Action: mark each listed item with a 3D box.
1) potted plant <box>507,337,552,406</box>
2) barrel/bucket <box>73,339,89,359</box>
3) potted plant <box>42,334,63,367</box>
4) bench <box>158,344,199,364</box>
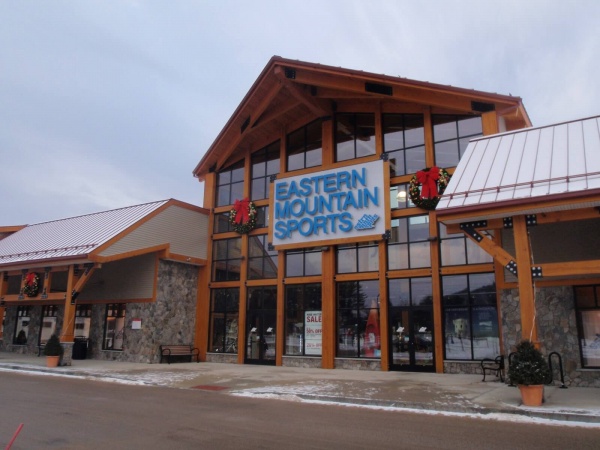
[{"bbox_3d":[5.466,3.485,10.074,0.826,1.375,0.810,-9,-24,27],"label":"potted plant"},{"bbox_3d":[-11.853,6.670,22.820,0.888,1.347,0.847,-1,-7,0],"label":"barrel/bucket"},{"bbox_3d":[-10.806,5.514,18.534,0.682,1.283,0.936,11,-16,-42],"label":"potted plant"},{"bbox_3d":[-6.241,6.626,21.775,0.339,0.923,2.347,-8,-15,34],"label":"bench"}]
